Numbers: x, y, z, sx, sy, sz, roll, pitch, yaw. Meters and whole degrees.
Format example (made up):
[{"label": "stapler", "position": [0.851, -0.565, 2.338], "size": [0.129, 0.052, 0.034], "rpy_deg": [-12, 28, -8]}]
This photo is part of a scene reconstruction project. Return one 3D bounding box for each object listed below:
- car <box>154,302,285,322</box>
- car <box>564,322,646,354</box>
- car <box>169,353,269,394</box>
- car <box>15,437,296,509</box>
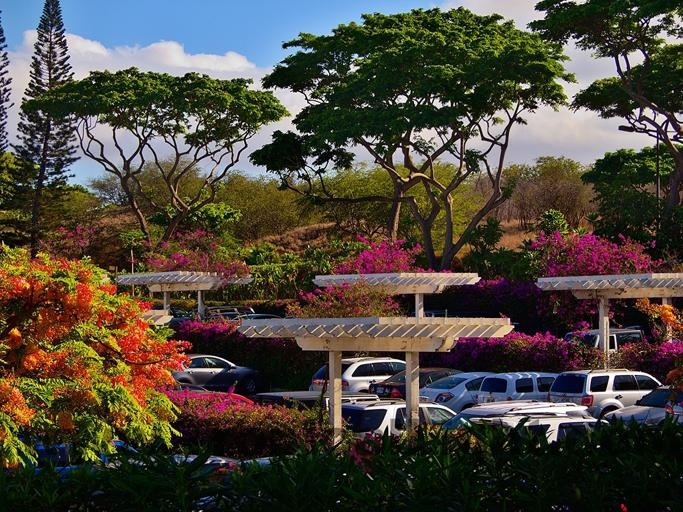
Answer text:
[{"label": "car", "position": [-4.895, 2.327, 56.572], "size": [4.942, 0.825, 1.106], "rpy_deg": [-3, 4, -24]}, {"label": "car", "position": [9.931, 3.039, 51.043], "size": [2.172, 1.047, 1.233], "rpy_deg": [3, -5, -28]}, {"label": "car", "position": [-4.293, 4.272, 48.941], "size": [3.673, 1.274, 1.625], "rpy_deg": [1, 0, -24]}, {"label": "car", "position": [-4.481, 5.681, 32.770], "size": [5.239, 1.775, 2.315], "rpy_deg": [-1, 1, -5]}]
